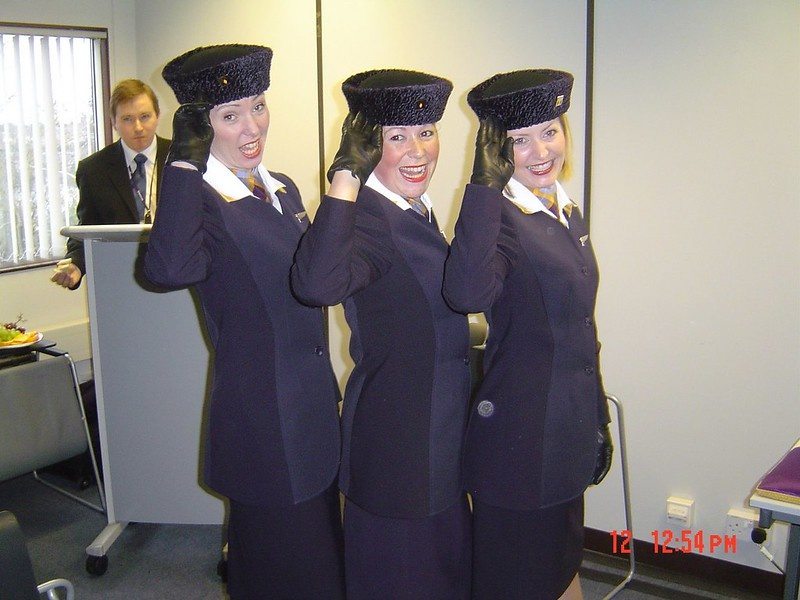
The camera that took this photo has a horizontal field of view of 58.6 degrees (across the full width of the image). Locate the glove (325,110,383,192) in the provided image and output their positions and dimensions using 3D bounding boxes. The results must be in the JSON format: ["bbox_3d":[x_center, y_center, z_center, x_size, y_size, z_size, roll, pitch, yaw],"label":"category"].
[{"bbox_3d":[-0.119,-0.398,1.868,0.127,0.172,0.163,5,19,12],"label":"glove"}]

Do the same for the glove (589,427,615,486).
[{"bbox_3d":[0.616,0.476,2.167,0.049,0.172,0.123,1,-18,4],"label":"glove"}]

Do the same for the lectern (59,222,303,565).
[{"bbox_3d":[-0.678,0.315,3.463,0.938,1.526,1.147,-1,6,-4],"label":"lectern"}]

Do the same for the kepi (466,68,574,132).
[{"bbox_3d":[0.342,-0.575,2.013,0.201,0.077,0.207,-3,31,18],"label":"kepi"}]

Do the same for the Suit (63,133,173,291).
[{"bbox_3d":[-1.488,-0.408,3.737,0.751,0.825,0.288,-2,6,0],"label":"Suit"}]

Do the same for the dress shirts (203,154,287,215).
[{"bbox_3d":[-0.420,-0.321,1.959,0.254,0.155,0.144,-12,22,-32],"label":"dress shirts"}]

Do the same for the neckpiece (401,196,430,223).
[{"bbox_3d":[0.047,-0.254,2.000,0.050,0.017,0.068,47,12,29],"label":"neckpiece"}]

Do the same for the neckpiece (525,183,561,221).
[{"bbox_3d":[0.414,-0.296,2.093,0.071,0.103,0.036,-24,-4,-39],"label":"neckpiece"}]

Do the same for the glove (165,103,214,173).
[{"bbox_3d":[-0.547,-0.419,1.843,0.108,0.165,0.125,-1,18,-6],"label":"glove"}]

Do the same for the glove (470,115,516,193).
[{"bbox_3d":[0.256,-0.402,1.960,0.112,0.178,0.173,3,19,9],"label":"glove"}]

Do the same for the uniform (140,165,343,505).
[{"bbox_3d":[-0.367,0.085,1.933,0.380,0.891,0.358,-11,21,-31],"label":"uniform"}]

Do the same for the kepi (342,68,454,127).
[{"bbox_3d":[-0.005,-0.569,1.995,0.429,0.168,0.460,2,15,1],"label":"kepi"}]
